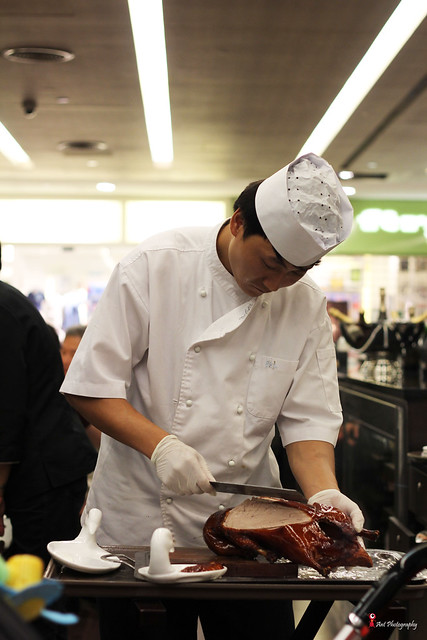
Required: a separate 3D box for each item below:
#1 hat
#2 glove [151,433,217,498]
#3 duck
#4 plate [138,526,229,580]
[{"bbox_3d":[0.184,-0.213,1.233,0.244,0.231,0.155,-10,8,-36],"label":"hat"},{"bbox_3d":[-0.082,0.315,1.204,0.048,0.134,0.101,-39,2,38],"label":"glove"},{"bbox_3d":[0.139,0.383,1.092,0.225,0.068,0.144,4,1,30],"label":"duck"},{"bbox_3d":[-0.048,0.360,0.943,0.127,0.060,0.089,1,-2,-31],"label":"plate"}]
